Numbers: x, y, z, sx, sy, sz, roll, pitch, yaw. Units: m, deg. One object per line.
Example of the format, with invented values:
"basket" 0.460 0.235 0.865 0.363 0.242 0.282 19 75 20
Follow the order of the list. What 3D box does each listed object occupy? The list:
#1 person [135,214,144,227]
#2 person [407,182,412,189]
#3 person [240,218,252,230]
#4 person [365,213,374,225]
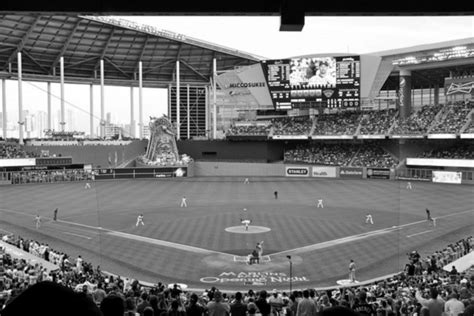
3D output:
"person" -13.125 8.316 111.973 1.124 1.374 3.376 -2 4 -7
"person" 27.561 4.513 134.334 0.634 0.713 2.624 -1 4 8
"person" 0.991 8.751 110.138 1.519 1.407 0.699 2 -39 3
"person" 17.283 8.374 111.883 0.868 1.562 1.517 -2 -13 38
